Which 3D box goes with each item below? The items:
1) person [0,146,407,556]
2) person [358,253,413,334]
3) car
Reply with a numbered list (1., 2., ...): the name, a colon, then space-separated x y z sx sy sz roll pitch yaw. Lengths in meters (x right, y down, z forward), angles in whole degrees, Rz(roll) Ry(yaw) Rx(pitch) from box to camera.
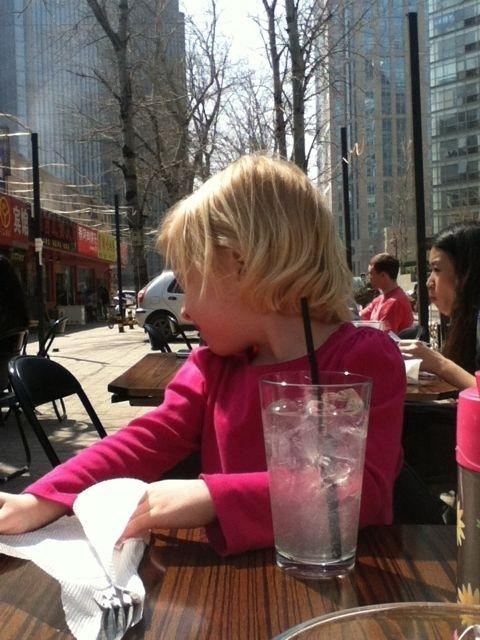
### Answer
1. person: -0.213 0.017 1.126 0.955 0.582 0.606 -7 -3 33
2. person: 1.718 -0.246 6.628 0.633 1.109 0.793 -7 6 -25
3. car: -1.909 -0.307 12.173 2.408 1.472 1.502 -2 3 -2
